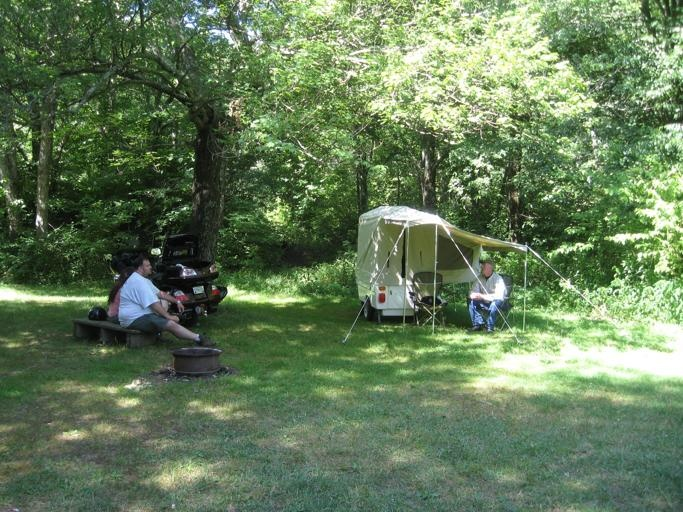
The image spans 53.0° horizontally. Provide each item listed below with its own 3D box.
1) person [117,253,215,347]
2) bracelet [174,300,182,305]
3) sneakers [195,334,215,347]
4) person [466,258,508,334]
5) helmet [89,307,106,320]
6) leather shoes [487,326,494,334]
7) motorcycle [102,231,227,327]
[{"bbox_3d":[-3.254,0.765,12.376,1.591,1.409,0.447,8,16,24],"label":"person"},{"bbox_3d":[-3.087,0.879,13.007,0.138,0.077,0.133,6,2,23],"label":"bracelet"},{"bbox_3d":[-2.382,1.476,12.039,0.457,0.184,0.163,2,11,23],"label":"sneakers"},{"bbox_3d":[3.211,0.900,15.035,0.816,1.535,1.028,5,15,12],"label":"person"},{"bbox_3d":[-4.749,1.108,13.389,0.249,0.265,0.314,-3,6,14],"label":"helmet"},{"bbox_3d":[3.196,1.570,14.723,0.119,0.126,0.334,-4,-9,16],"label":"leather shoes"},{"bbox_3d":[-3.599,0.316,14.523,2.563,1.397,1.559,25,20,34],"label":"motorcycle"}]
